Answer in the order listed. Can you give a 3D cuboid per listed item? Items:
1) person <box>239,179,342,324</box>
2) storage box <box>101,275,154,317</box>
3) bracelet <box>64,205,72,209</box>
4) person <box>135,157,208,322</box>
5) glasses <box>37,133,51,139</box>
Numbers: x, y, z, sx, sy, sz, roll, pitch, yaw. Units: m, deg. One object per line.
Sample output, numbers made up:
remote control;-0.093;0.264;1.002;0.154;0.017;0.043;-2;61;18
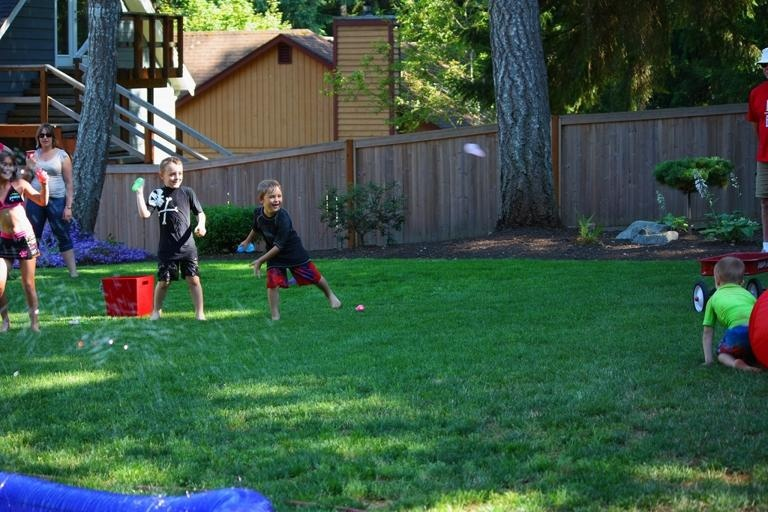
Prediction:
person;-1.344;-0.115;13.654;1.130;1.194;0.703;-2;1;-23
storage box;-3.308;0.510;13.870;0.527;0.497;0.548;-1;1;5
bracelet;-4.616;-0.761;15.640;0.084;0.068;0.106;3;-7;-32
person;-2.739;-0.262;13.822;0.840;1.531;1.877;-2;1;-11
glasses;-4.859;-1.729;15.245;0.171;0.068;0.128;-2;1;-14
